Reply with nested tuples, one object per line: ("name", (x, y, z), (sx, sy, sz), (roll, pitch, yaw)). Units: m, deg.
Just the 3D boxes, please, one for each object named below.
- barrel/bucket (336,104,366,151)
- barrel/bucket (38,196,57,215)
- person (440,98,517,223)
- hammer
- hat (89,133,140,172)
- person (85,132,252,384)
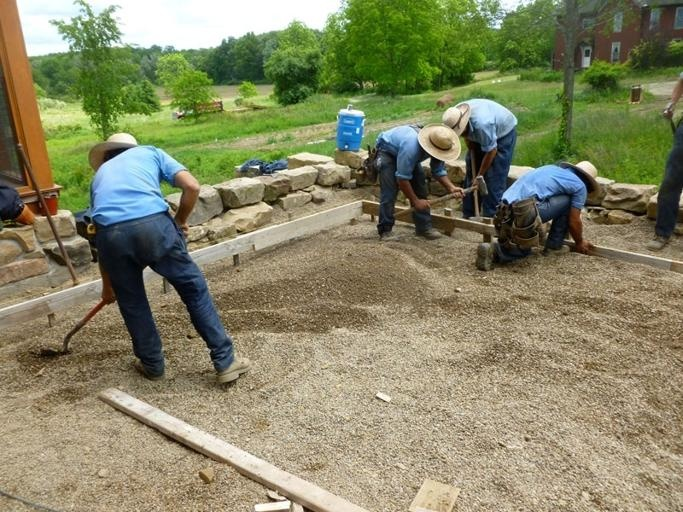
("barrel/bucket", (0.128, -1.991, 9.101), (0.440, 0.719, 0.611), (-4, 19, 1))
("barrel/bucket", (-3.086, -0.538, 6.115), (0.183, 0.198, 0.223), (3, 8, 33))
("person", (1.636, -1.193, 7.088), (0.930, 1.563, 0.856), (15, 20, 26))
("hammer", (1.268, -0.701, 6.854), (1.391, 0.302, 0.399), (-16, 4, 11))
("hat", (-1.929, -0.872, 4.928), (0.346, 0.337, 0.280), (-5, 15, -15))
("person", (-1.613, 0.009, 4.796), (1.326, 2.056, 1.051), (-10, 4, 10))
